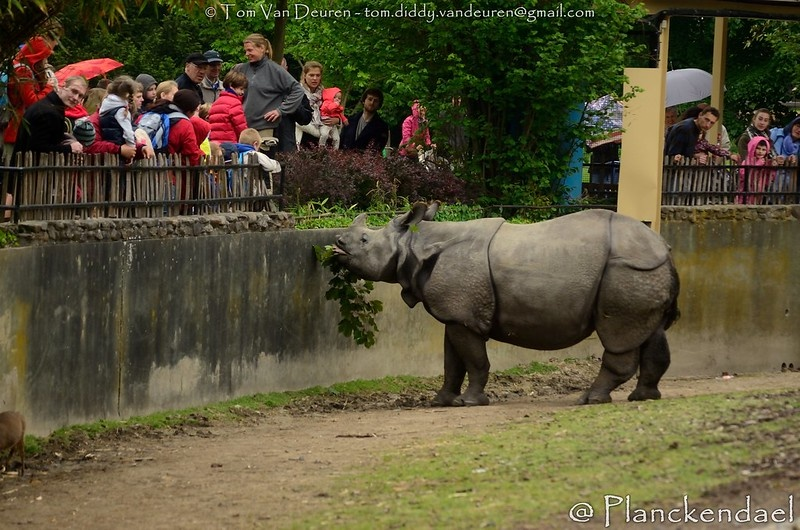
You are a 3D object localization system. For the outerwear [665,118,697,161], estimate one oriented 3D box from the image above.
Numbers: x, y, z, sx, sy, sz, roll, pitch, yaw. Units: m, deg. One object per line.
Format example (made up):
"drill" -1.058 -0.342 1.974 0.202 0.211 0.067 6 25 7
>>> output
"outerwear" 4.513 -1.978 20.217 0.332 0.585 0.612 23 22 28

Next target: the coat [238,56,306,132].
"coat" -1.999 -2.550 18.479 1.323 1.031 0.563 14 21 31

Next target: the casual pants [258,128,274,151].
"casual pants" -1.898 -1.809 18.035 0.322 0.132 0.305 -2 53 9

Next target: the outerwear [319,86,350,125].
"outerwear" -1.074 -2.487 19.970 0.388 0.577 0.429 4 11 36

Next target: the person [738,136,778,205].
"person" 5.914 -1.538 20.821 0.562 1.186 0.391 2 22 13

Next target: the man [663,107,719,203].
"man" 4.517 -1.638 20.352 0.645 1.879 0.685 9 14 -6

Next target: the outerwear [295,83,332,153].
"outerwear" -1.402 -2.357 19.716 0.331 1.132 0.388 21 41 36

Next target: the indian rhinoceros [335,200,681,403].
"indian rhinoceros" 1.261 0.544 16.048 4.593 2.569 1.501 1 4 15

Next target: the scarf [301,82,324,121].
"scarf" -1.327 -2.453 19.518 0.402 0.510 0.225 -1 15 -20
